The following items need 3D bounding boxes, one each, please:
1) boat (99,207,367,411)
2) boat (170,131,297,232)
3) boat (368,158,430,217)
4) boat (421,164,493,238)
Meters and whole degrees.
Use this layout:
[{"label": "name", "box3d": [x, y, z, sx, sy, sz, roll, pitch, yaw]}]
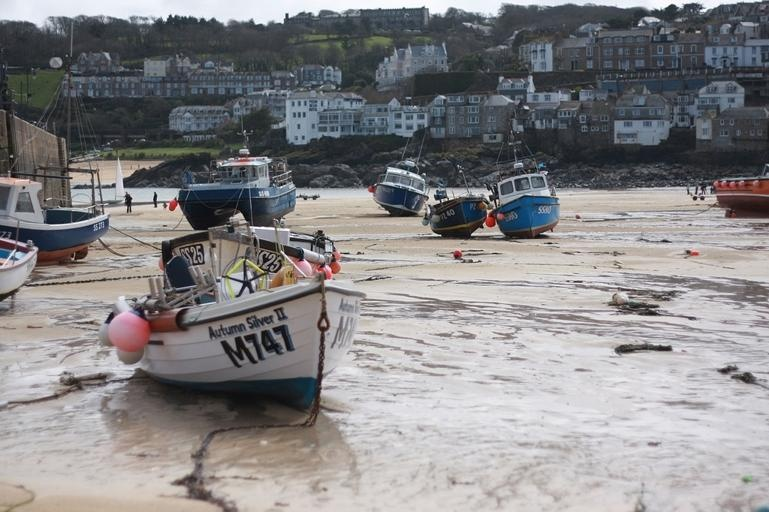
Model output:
[{"label": "boat", "box3d": [-2.027, 0.793, 12.345, 3.123, 2.234, 2.891, -3, 10, -16]}, {"label": "boat", "box3d": [-5.768, -2.637, 33.344, 3.263, 3.992, 8.406, 0, 1, 12]}, {"label": "boat", "box3d": [0.722, -2.848, 39.773, 2.102, 2.142, 1.365, -1, 10, -4]}, {"label": "boat", "box3d": [2.371, -1.360, 29.718, 1.657, 1.642, 3.645, -6, 0, -5]}]
